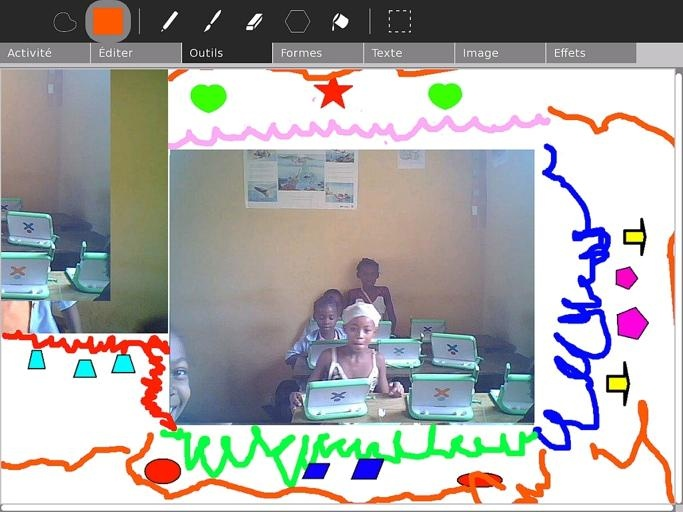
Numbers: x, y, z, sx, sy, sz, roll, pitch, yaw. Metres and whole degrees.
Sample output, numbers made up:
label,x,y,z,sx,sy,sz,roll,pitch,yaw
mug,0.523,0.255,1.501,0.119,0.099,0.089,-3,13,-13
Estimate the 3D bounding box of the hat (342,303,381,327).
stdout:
label,x,y,z,sx,sy,sz,roll,pitch,yaw
hat,0.069,0.219,2.503,0.097,0.063,0.109,3,-1,-3
